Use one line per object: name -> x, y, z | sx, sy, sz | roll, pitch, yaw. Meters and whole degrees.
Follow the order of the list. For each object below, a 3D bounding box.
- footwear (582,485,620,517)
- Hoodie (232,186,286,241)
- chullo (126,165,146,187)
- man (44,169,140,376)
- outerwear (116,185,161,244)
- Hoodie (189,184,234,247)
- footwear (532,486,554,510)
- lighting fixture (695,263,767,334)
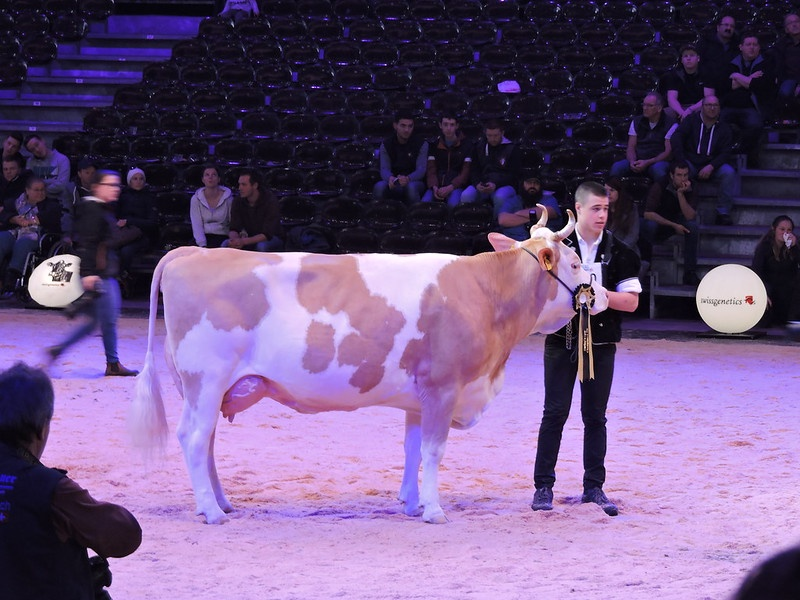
footwear -> 1.649, 1.727, 9.971 | 0.134, 0.147, 0.354 | -2, 13, -35
Hoodie -> -1.898, -1.195, 16.975 | 0.800, 0.892, 0.660 | 3, 5, 5
chullo -> -3.797, -1.821, 17.679 | 0.321, 0.338, 0.426 | -2, 6, -12
man -> -3.082, -0.085, 12.388 | 0.652, 1.997, 1.485 | 3, 3, -3
outerwear -> -3.710, -1.300, 17.740 | 0.717, 0.868, 0.527 | -7, 16, 9
Hoodie -> -2.590, -1.147, 17.017 | 0.671, 0.827, 0.697 | -2, 13, 0
footwear -> 1.177, 1.708, 9.972 | 0.162, 0.157, 0.393 | 1, -7, 5
lighting fixture -> 4.260, 0.049, 15.557 | 0.864, 0.923, 0.816 | -3, 7, -8
